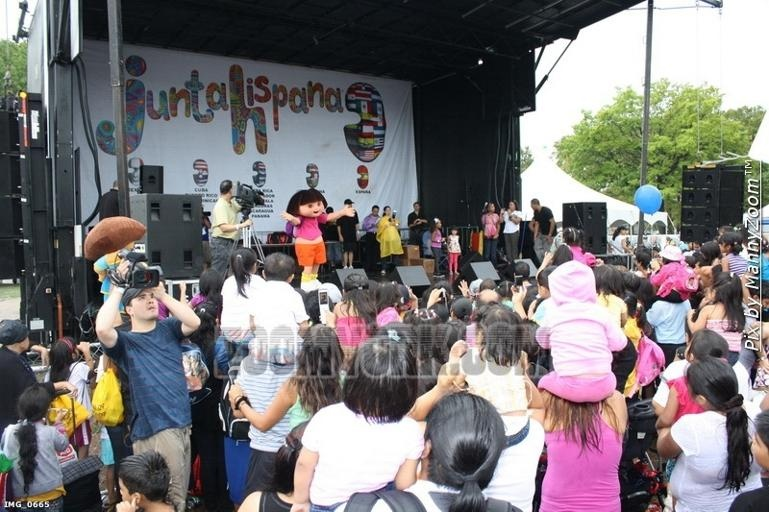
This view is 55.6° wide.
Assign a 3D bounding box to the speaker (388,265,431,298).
[{"bbox_3d":[0.461,0.416,13.143,0.550,0.352,0.552,4,22,-43],"label":"speaker"}]

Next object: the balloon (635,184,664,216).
[{"bbox_3d":[4.279,-0.926,11.853,0.353,0.475,0.637,1,3,25],"label":"balloon"}]

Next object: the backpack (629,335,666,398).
[{"bbox_3d":[2.871,1.210,8.190,0.483,0.536,0.366,-12,4,-5],"label":"backpack"}]

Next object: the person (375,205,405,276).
[{"bbox_3d":[0.108,-0.409,16.625,0.546,1.502,0.452,-1,-15,-10],"label":"person"}]

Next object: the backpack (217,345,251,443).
[{"bbox_3d":[-1.487,1.308,7.122,0.290,1.000,0.820,-1,3,-14],"label":"backpack"}]

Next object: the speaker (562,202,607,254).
[{"bbox_3d":[3.772,-0.422,13.057,0.501,0.808,0.529,-8,-22,32],"label":"speaker"}]

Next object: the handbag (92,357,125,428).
[{"bbox_3d":[-2.761,1.364,7.271,0.305,0.732,0.176,-1,3,-19],"label":"handbag"}]

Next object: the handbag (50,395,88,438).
[{"bbox_3d":[-3.297,1.675,7.564,0.188,0.358,0.406,-19,-31,8],"label":"handbag"}]

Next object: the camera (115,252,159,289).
[{"bbox_3d":[-2.406,0.064,7.009,0.231,0.316,0.702,-7,20,-34],"label":"camera"}]

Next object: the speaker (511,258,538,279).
[{"bbox_3d":[2.288,0.217,11.984,0.367,0.411,0.717,-2,-4,16],"label":"speaker"}]

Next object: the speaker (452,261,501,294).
[{"bbox_3d":[1.745,0.405,13.619,0.525,0.397,0.722,-1,-2,-15],"label":"speaker"}]

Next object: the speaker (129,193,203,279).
[{"bbox_3d":[-3.155,-0.444,10.843,0.943,1.293,1.015,2,20,-7],"label":"speaker"}]
